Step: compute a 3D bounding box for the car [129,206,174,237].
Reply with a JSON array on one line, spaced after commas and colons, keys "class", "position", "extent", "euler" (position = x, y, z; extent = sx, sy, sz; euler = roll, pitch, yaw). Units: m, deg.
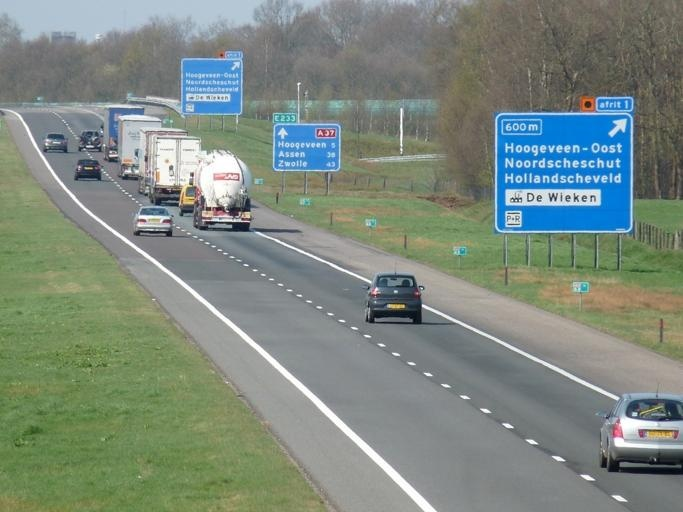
[{"class": "car", "position": [-10.548, -1.765, 76.499], "extent": [2.040, 1.502, 1.562], "euler": [1, 9, -6]}]

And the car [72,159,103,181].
[{"class": "car", "position": [-18.746, -6.236, 100.825], "extent": [1.852, 1.436, 0.893], "euler": [-3, 10, -29]}]

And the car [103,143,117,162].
[{"class": "car", "position": [-19.405, -8.748, 115.037], "extent": [1.499, 1.458, 1.492], "euler": [5, -7, -11]}]

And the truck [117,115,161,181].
[{"class": "truck", "position": [-14.943, -7.789, 102.404], "extent": [2.856, 5.381, 3.152], "euler": [-6, 15, -17]}]

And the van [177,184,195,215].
[{"class": "van", "position": [-9.651, -3.417, 85.416], "extent": [0.768, 2.054, 1.477], "euler": [0, 10, -16]}]

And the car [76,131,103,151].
[{"class": "car", "position": [-22.831, -10.137, 123.517], "extent": [1.787, 1.622, 3.713], "euler": [3, 10, 2]}]

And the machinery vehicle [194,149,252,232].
[{"class": "machinery vehicle", "position": [-6.789, -3.307, 81.997], "extent": [2.879, 4.611, 8.496], "euler": [2, -3, -2]}]

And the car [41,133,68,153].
[{"class": "car", "position": [-24.575, -9.471, 117.253], "extent": [1.959, 1.540, 1.868], "euler": [1, 9, -11]}]

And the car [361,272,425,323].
[{"class": "car", "position": [2.133, 1.723, 57.889], "extent": [2.688, 2.184, 4.596], "euler": [0, 1, 3]}]
